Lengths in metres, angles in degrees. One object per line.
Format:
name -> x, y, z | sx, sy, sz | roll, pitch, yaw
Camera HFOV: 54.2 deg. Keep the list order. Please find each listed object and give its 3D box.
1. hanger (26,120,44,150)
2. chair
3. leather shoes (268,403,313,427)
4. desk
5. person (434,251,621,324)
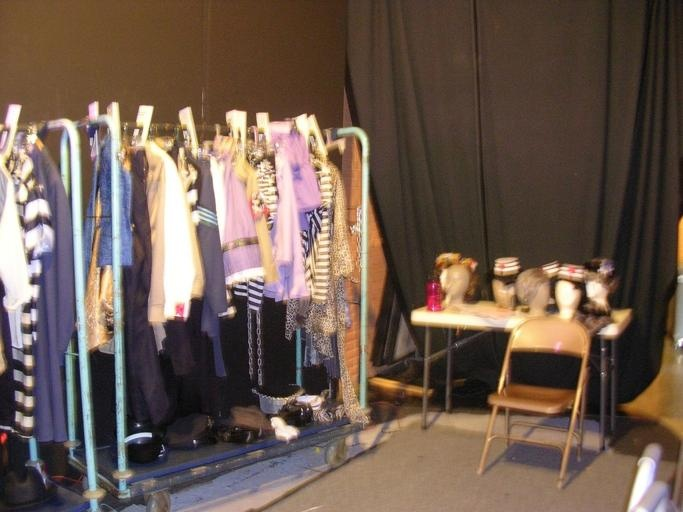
hanger -> -1.538, -0.603, 3.342 | 0.078, 0.153, 0.034 | 0, -15, -29
chair -> 1.264, 0.870, 4.318 | 0.590, 0.987, 0.697 | 2, 4, 18
leather shoes -> -0.282, 0.965, 4.099 | 0.210, 0.118, 0.111 | -2, 10, -3
desk -> 1.307, 0.899, 4.959 | 1.434, 1.093, 0.840 | 1, 6, 32
person -> 1.262, 0.222, 4.693 | 1.227, 0.433, 0.379 | 4, 11, 25
